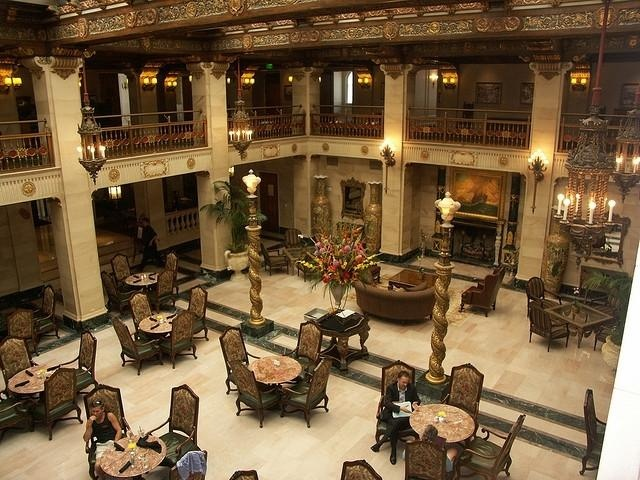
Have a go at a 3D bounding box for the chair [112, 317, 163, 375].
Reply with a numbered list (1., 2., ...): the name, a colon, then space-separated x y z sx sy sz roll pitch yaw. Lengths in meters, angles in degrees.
1. chair: -4.273 2.545 10.851 0.741 1.294 0.807 21 32 34

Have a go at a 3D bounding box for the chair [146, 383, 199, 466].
1. chair: -2.574 3.270 8.030 0.772 1.226 0.738 19 28 29

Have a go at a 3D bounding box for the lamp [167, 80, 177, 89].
1. lamp: -6.031 -6.253 18.517 0.314 0.200 0.318 11 16 40

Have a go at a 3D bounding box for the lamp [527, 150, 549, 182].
1. lamp: 6.499 -2.210 13.723 0.522 0.903 0.348 6 17 26

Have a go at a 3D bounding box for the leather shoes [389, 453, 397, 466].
1. leather shoes: 1.284 3.833 8.059 0.134 0.131 0.165 0 15 6

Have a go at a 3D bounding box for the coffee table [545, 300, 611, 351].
1. coffee table: 6.681 1.992 11.766 1.180 0.588 1.164 -18 27 -32

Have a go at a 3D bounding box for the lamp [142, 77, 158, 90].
1. lamp: -6.228 -5.731 16.765 0.149 0.488 0.501 15 20 27

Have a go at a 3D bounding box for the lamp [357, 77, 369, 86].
1. lamp: 1.775 -6.512 18.828 0.515 0.324 0.166 11 23 38

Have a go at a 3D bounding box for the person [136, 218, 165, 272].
1. person: -6.051 0.116 16.211 0.766 1.758 0.914 -9 17 -24

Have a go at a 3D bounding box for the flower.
1. flower: 0.494 0.718 10.954 1.236 1.832 0.917 -5 16 -11

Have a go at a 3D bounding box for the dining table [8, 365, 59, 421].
1. dining table: -5.729 3.097 9.111 0.803 0.353 1.055 7 16 4

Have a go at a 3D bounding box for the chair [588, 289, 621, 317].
1. chair: 7.677 1.716 12.373 0.598 0.829 0.522 -11 18 -28

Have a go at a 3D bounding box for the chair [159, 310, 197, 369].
1. chair: -3.379 2.418 10.920 0.819 1.445 0.829 18 26 38

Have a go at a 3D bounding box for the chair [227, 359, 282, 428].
1. chair: -1.257 3.072 9.090 0.793 1.333 0.873 18 27 37

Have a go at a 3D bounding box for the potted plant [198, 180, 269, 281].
1. potted plant: -3.053 -0.400 15.335 1.402 3.155 0.815 -3 16 -6

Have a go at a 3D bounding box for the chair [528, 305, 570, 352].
1. chair: 5.799 2.264 11.611 0.750 1.089 0.687 -13 21 -26

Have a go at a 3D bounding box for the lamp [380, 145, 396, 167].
1. lamp: 2.389 -2.944 16.150 0.379 0.781 0.405 -13 19 -37

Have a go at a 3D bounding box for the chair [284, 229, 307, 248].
1. chair: -0.859 -0.058 17.481 0.658 0.935 0.765 -5 10 -25

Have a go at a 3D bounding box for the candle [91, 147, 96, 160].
1. candle: -4.518 -1.719 9.135 0.100 0.232 0.033 -13 19 -36

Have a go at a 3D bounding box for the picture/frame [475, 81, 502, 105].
1. picture/frame: 6.108 -5.341 16.603 0.870 0.759 0.087 8 17 30

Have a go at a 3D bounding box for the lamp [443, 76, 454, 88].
1. lamp: 4.747 -5.790 16.911 0.308 0.391 0.309 -1 12 3

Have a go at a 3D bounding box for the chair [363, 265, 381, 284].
1. chair: 1.511 1.009 13.410 0.452 0.554 0.411 -28 41 -35

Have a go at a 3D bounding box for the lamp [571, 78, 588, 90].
1. lamp: 8.092 -4.862 14.396 0.466 0.440 0.306 12 40 29

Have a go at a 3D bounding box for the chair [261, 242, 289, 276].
1. chair: -1.677 0.649 16.437 1.076 1.399 1.001 -6 21 -18

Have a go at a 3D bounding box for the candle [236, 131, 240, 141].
1. candle: -2.188 -2.805 12.429 0.095 0.196 0.087 11 20 38

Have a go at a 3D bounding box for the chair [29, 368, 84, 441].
1. chair: -5.159 3.081 8.953 0.766 1.331 0.726 -13 19 -36

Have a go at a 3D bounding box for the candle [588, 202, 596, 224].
1. candle: 3.911 -0.397 6.617 0.080 0.318 0.122 7 18 30

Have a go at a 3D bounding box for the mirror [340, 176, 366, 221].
1. mirror: 1.340 -1.702 18.173 1.446 2.085 0.096 14 26 37

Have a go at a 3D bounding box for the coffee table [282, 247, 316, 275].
1. coffee table: -0.759 0.618 16.319 0.872 0.615 1.238 -9 20 -28

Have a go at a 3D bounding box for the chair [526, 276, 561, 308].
1. chair: 6.425 1.516 13.209 0.638 0.898 0.637 -13 18 -29
